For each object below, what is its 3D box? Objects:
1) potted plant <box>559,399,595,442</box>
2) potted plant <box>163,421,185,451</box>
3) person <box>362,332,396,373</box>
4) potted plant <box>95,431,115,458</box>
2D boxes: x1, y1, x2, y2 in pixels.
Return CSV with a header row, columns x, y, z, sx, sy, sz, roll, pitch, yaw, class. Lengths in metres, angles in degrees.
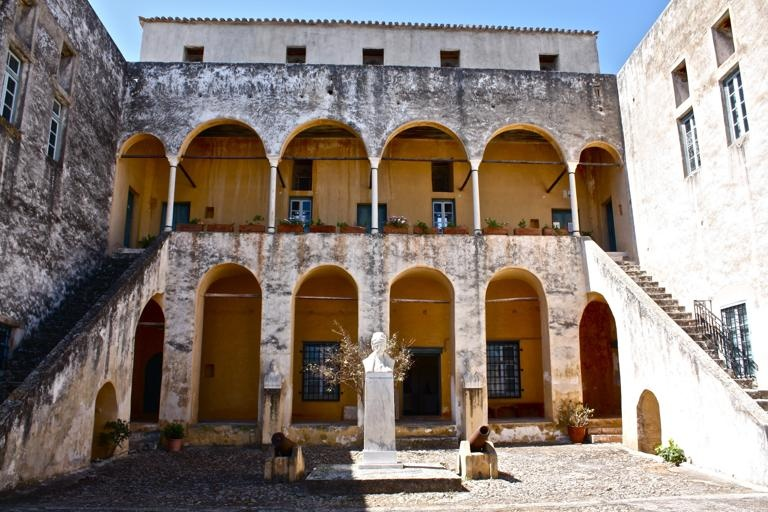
x,y,z,sx,sy,sz,roll,pitch,yaw,class
5.535,4.832,17.216,0.969,1.196,1.099,4,-6,-30,potted plant
-5.850,5.031,16.215,0.629,0.745,0.636,-2,-10,13,potted plant
-0.132,2.079,12.680,0.588,0.807,0.888,0,-5,-2,person
-6.806,4.642,14.288,0.462,0.585,0.363,3,-6,-29,potted plant
